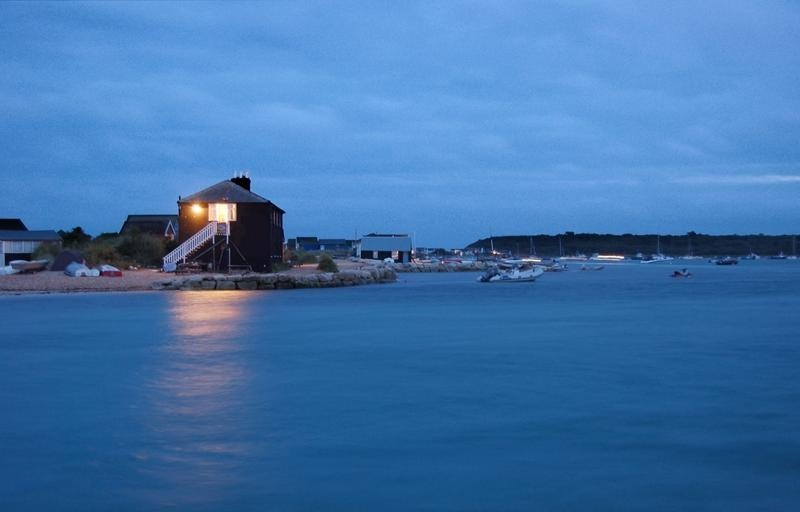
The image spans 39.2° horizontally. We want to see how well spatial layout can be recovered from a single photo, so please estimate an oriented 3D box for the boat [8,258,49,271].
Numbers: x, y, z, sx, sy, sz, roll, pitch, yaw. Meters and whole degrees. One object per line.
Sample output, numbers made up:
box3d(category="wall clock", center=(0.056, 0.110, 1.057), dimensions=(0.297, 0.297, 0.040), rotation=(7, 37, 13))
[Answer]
box3d(category="boat", center=(-28.527, 0.765, 87.030), dimensions=(1.575, 0.652, 3.423), rotation=(-2, 1, 20))
